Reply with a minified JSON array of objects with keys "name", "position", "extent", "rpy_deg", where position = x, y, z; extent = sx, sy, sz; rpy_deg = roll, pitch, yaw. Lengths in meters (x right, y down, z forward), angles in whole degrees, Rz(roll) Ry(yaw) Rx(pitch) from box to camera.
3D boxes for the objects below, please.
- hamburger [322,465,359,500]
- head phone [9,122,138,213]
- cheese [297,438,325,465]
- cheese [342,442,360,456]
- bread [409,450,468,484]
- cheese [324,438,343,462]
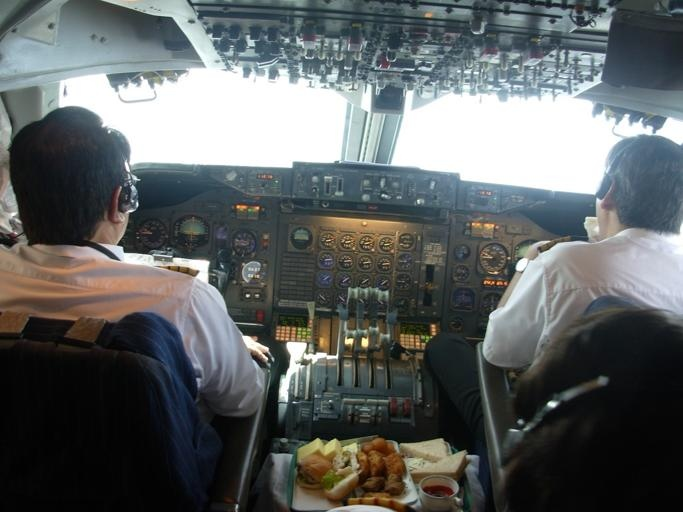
[{"name":"hamburger","position":[0.008,0.906,2.309],"extent":[0.146,0.100,0.080],"rpy_deg":[3,7,-19]},{"name":"head phone","position":[-0.843,-0.275,1.955],"extent":[0.290,0.309,0.319],"rpy_deg":[-1,13,0]},{"name":"cheese","position":[-0.140,0.826,2.491],"extent":[0.109,0.061,0.109],"rpy_deg":[-26,0,23]},{"name":"cheese","position":[0.035,0.821,2.485],"extent":[0.051,0.015,0.055],"rpy_deg":[-2,31,38]},{"name":"bread","position":[0.428,0.894,2.482],"extent":[0.176,0.046,0.171],"rpy_deg":[-4,2,-25]},{"name":"cheese","position":[-0.036,0.841,2.531],"extent":[0.066,0.065,0.063],"rpy_deg":[7,28,15]}]
